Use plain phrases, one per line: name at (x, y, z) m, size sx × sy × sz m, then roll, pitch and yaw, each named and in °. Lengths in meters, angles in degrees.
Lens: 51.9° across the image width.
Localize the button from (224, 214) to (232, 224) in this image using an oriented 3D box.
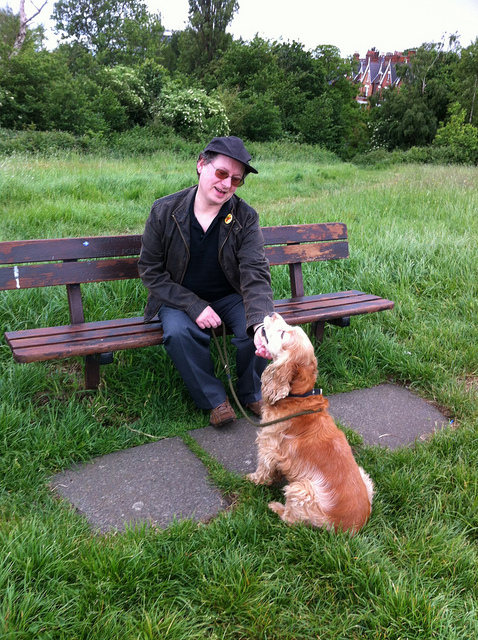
button at (-0.061, -0.612, 2.956) m, size 0.032 × 0.058 × 0.010 m, roll 28°, pitch -14°, yaw -20°

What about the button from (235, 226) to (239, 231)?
button at (-0.013, -0.557, 2.974) m, size 0.010 × 0.015 × 0.024 m, roll 6°, pitch 15°, yaw 31°

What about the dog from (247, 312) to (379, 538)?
dog at (0.339, 0.496, 2.144) m, size 0.473 × 0.811 × 0.658 m, roll -17°, pitch 29°, yaw -41°

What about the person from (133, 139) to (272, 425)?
person at (-0.207, -0.208, 2.958) m, size 0.814 × 1.691 × 0.558 m, roll 2°, pitch 14°, yaw 3°

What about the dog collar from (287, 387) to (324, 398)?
dog collar at (0.304, 0.325, 2.184) m, size 0.081 × 0.021 × 0.059 m, roll -7°, pitch 4°, yaw -8°

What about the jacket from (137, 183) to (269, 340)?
jacket at (-0.216, -0.315, 2.969) m, size 1.112 × 0.746 × 0.460 m, roll -4°, pitch 39°, yaw -26°
